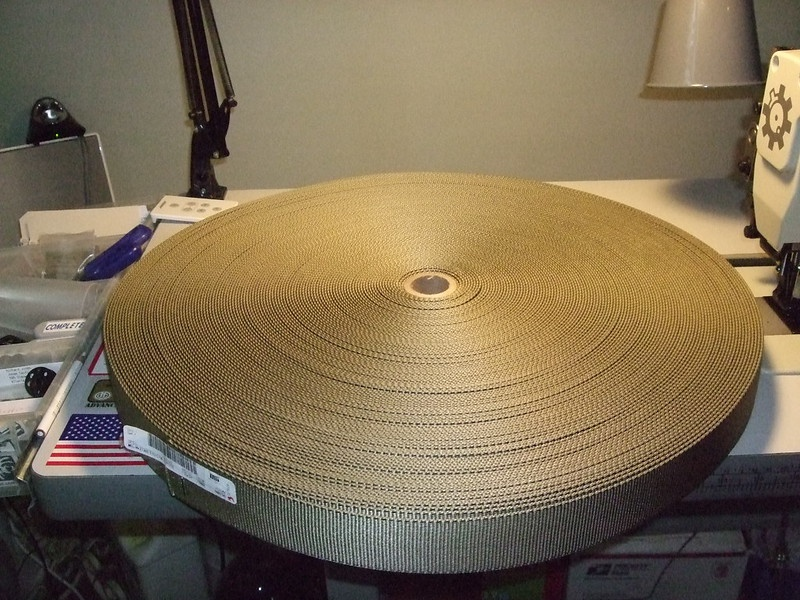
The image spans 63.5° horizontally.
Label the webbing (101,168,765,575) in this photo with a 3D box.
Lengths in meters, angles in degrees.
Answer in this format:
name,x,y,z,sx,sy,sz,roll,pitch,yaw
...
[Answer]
name,x,y,z,sx,sy,sz,roll,pitch,yaw
webbing,0.033,0.025,0.637,0.611,0.199,0.463,-6,20,-10
